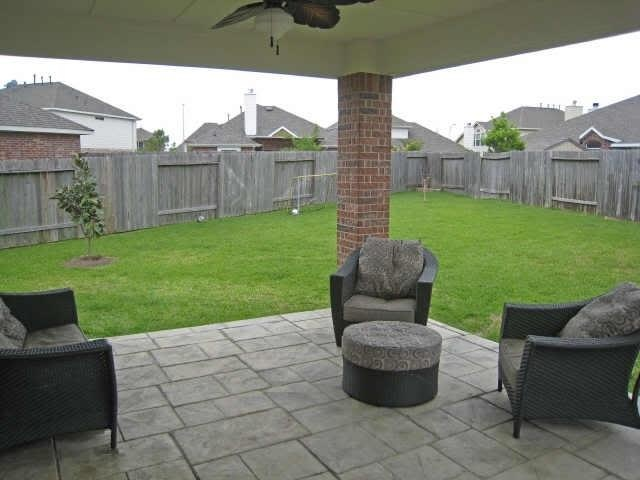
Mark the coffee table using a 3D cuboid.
[{"bbox_3d":[0.660,1.167,4.575,0.949,0.564,0.937,-4,7,-37],"label":"coffee table"}]

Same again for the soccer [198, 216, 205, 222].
[{"bbox_3d":[-3.740,-0.655,14.696,0.206,0.072,0.210,-5,20,-18],"label":"soccer"}]

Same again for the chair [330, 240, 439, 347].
[{"bbox_3d":[0.845,0.638,5.772,1.205,1.059,1.350,2,9,19],"label":"chair"}]
